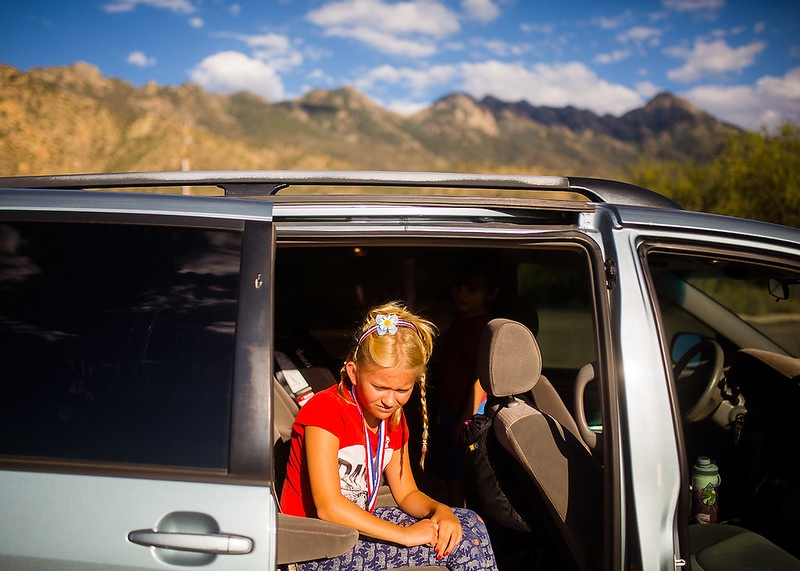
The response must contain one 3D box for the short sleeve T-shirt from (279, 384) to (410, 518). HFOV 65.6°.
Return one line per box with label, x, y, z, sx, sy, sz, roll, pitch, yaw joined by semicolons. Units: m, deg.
short sleeve T-shirt;-0.196;0.632;2.335;0.463;0.489;0.250;7;2;-43
